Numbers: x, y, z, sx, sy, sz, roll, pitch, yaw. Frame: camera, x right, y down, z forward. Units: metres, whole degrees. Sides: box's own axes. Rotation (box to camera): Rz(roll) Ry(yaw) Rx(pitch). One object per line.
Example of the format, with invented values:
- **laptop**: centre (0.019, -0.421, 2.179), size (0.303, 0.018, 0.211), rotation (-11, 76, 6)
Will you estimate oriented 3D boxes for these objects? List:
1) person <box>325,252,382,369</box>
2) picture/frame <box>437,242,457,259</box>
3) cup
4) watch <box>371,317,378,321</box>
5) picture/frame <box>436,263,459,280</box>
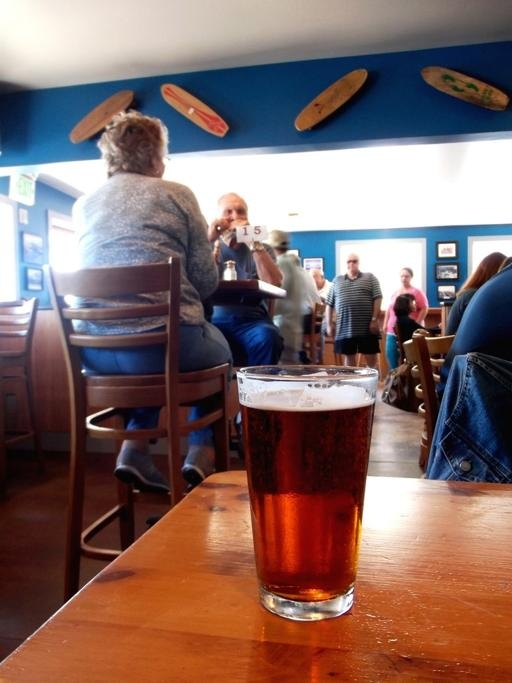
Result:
- **person**: centre (1.102, -0.362, 6.343), size (0.587, 1.303, 0.689), rotation (-3, 3, 7)
- **picture/frame**: centre (3.743, -1.789, 10.939), size (0.362, 0.325, 0.038), rotation (0, 4, 6)
- **cup**: centre (0.032, 0.084, 0.319), size (0.075, 0.133, 0.040), rotation (-3, 3, 10)
- **watch**: centre (1.287, -0.257, 6.079), size (0.051, 0.047, 0.030), rotation (-6, -5, 39)
- **picture/frame**: centre (3.755, -1.387, 10.958), size (0.363, 0.280, 0.036), rotation (2, 12, 13)
